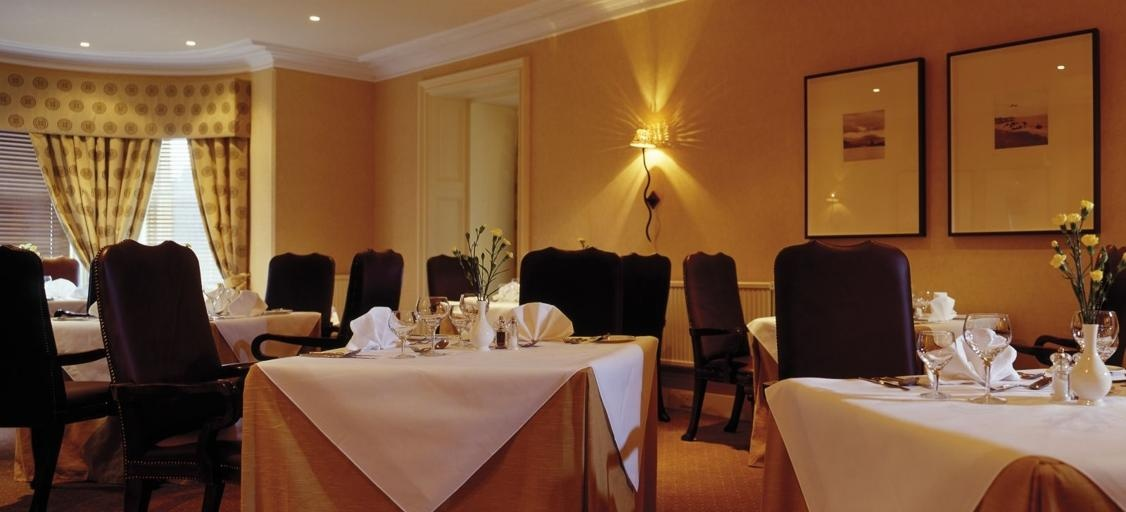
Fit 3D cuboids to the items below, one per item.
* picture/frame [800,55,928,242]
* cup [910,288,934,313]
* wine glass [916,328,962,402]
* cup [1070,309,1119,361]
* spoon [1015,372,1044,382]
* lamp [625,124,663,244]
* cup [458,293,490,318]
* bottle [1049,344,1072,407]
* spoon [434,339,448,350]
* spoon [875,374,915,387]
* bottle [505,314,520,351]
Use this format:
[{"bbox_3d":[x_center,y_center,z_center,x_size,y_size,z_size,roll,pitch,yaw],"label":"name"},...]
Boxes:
[{"bbox_3d":[3.460,-1.193,8.247,1.342,2.034,0.061,-3,-1,21],"label":"picture/frame"},{"bbox_3d":[3.697,0.467,7.374,0.265,0.157,0.253,-1,6,0],"label":"cup"},{"bbox_3d":[2.828,0.810,5.411,0.224,0.550,0.344,-3,-2,43],"label":"wine glass"},{"bbox_3d":[4.011,0.588,5.368,0.319,0.406,0.249,-2,-1,15],"label":"cup"},{"bbox_3d":[3.643,0.930,5.566,0.174,0.061,0.148,-3,-3,25],"label":"spoon"},{"bbox_3d":[1.116,-0.902,9.299,0.456,1.306,0.114,-2,-1,16],"label":"lamp"},{"bbox_3d":[-0.792,0.446,6.248,0.320,0.265,0.279,1,-2,-13],"label":"cup"},{"bbox_3d":[3.716,0.886,5.328,0.213,0.437,0.105,-1,-1,-30],"label":"bottle"},{"bbox_3d":[-1.024,0.732,6.009,0.097,0.056,0.095,7,12,32],"label":"spoon"},{"bbox_3d":[2.565,0.986,5.510,0.235,0.056,0.120,7,7,1],"label":"spoon"},{"bbox_3d":[-0.445,0.647,6.129,0.109,0.222,0.161,-2,-1,-6],"label":"bottle"}]
